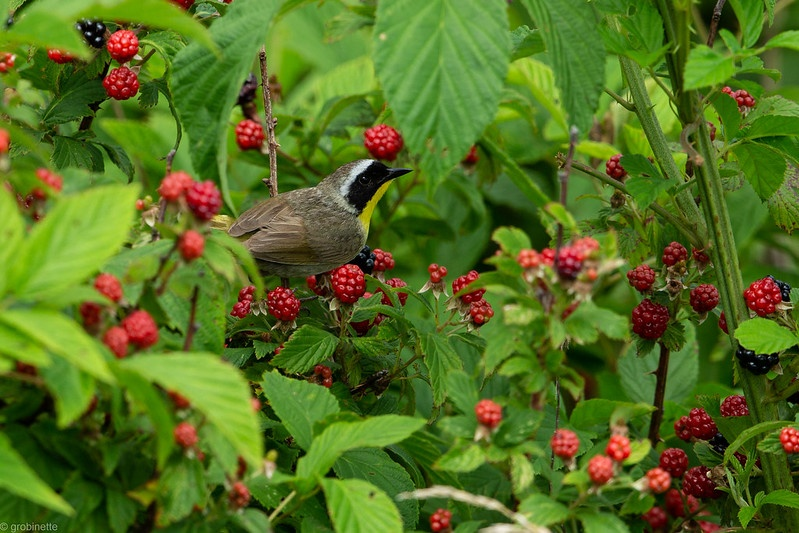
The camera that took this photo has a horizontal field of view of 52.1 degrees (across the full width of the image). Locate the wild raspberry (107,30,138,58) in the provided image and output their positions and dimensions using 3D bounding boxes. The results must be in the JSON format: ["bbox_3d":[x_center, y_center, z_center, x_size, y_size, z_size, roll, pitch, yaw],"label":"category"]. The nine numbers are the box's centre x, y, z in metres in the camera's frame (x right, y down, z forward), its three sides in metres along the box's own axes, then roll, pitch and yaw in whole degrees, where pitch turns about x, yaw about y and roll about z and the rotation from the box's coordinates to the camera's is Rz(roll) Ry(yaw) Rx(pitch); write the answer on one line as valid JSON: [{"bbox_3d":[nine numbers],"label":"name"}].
[{"bbox_3d":[-0.885,-0.712,2.630,0.083,0.102,0.091,-1,33,-13],"label":"wild raspberry"}]

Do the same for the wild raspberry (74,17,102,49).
[{"bbox_3d":[-0.999,-0.768,2.670,0.077,0.102,0.034,-35,38,-15],"label":"wild raspberry"}]

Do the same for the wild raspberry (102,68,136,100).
[{"bbox_3d":[-0.914,-0.600,2.670,0.070,0.086,0.066,18,54,-14],"label":"wild raspberry"}]

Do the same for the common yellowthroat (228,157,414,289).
[{"bbox_3d":[-0.491,-0.195,3.876,0.985,0.541,0.422,-9,32,-4],"label":"common yellowthroat"}]
